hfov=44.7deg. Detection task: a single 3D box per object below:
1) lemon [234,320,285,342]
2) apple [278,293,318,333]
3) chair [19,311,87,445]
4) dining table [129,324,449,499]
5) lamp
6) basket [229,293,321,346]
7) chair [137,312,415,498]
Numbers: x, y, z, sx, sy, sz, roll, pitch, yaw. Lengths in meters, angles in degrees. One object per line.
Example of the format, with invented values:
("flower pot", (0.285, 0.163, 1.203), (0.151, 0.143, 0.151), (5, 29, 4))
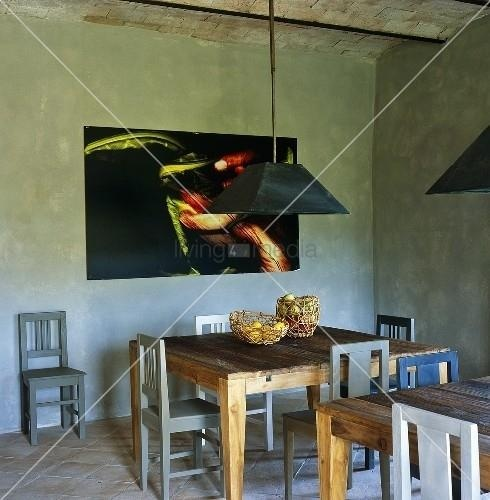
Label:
("lemon", (0.115, 0.460, 3.567), (0.191, 0.063, 0.178), (0, -3, 21))
("apple", (0.333, 0.402, 3.818), (0.273, 0.228, 0.268), (1, -3, -14))
("chair", (-1.373, 0.882, 4.280), (0.468, 0.862, 0.521), (-2, 2, -19))
("dining table", (0.019, 0.639, 3.385), (1.260, 0.599, 1.229), (1, -3, -27))
("lamp", (0.161, -0.790, 3.250), (0.786, 1.178, 0.418), (-1, 3, 8))
("basket", (0.203, 0.409, 3.681), (0.515, 0.199, 0.305), (-3, 4, -32))
("chair", (0.021, 0.657, 3.291), (1.109, 0.532, 1.131), (0, -1, -29))
